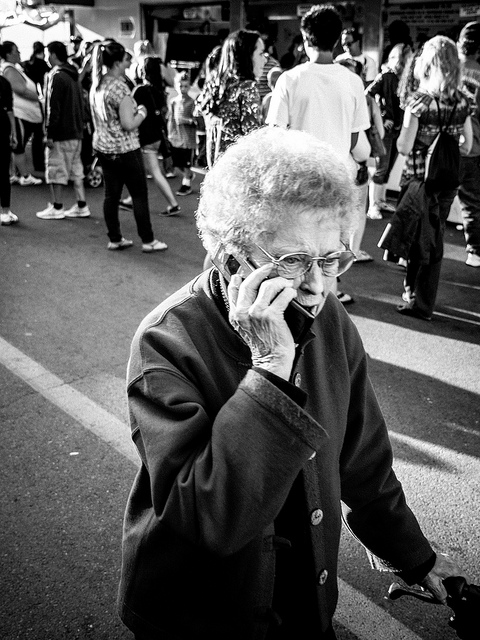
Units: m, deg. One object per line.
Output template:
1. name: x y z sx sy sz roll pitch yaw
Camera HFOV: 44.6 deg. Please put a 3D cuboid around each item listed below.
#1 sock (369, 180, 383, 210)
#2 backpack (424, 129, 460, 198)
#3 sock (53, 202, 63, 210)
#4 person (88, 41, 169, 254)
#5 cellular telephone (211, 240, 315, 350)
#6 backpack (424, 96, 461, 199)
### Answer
1. sock: 1.920 -1.780 8.273 0.177 0.366 0.272 5 18 12
2. backpack: 1.644 -1.300 4.779 0.286 0.576 0.261 -12 20 -16
3. sock: -2.591 -1.617 8.295 0.083 0.104 0.093 -1 -6 1
4. person: -1.382 -1.935 6.743 0.662 2.306 0.585 15 29 26
5. cellular telephone: 0.045 -0.083 1.201 0.056 0.145 0.255 -32 75 -12
6. backpack: 1.668 -1.394 4.767 0.271 0.779 0.108 -5 18 -19
